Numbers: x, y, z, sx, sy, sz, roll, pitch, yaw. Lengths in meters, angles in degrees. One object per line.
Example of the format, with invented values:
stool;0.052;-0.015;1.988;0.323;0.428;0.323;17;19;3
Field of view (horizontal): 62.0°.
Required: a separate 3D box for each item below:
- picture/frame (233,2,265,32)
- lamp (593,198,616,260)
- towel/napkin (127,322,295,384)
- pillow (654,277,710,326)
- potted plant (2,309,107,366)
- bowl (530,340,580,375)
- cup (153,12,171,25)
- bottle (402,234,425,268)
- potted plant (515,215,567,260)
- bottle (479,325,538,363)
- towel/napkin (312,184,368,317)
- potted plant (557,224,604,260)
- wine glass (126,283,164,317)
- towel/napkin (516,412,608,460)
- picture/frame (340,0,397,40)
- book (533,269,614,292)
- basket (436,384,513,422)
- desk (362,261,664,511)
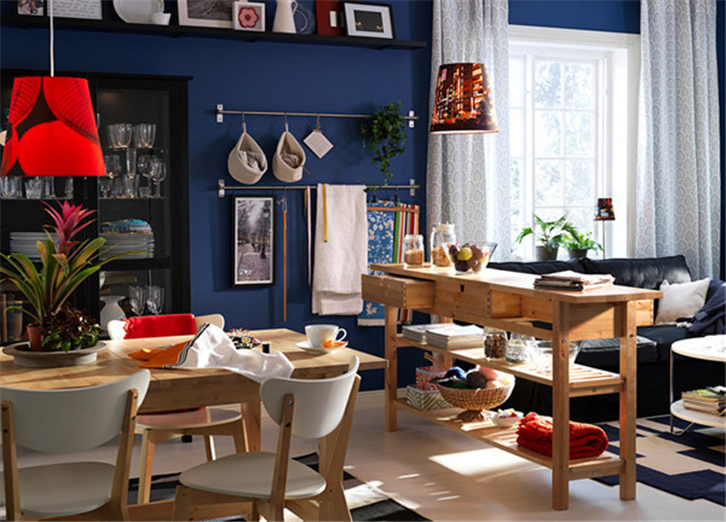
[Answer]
picture/frame;-0.818;-1.733;4.293;0.260;0.218;0.082;-1;-1;-29
lamp;2.161;-0.297;5.422;0.159;0.557;0.638;1;5;22
towel/napkin;-0.546;0.376;2.381;0.308;0.110;0.388;2;2;-41
pillow;2.573;0.338;4.881;0.139;0.363;0.349;34;-23;-34
potted plant;-1.245;0.313;2.430;0.262;0.128;0.266;3;4;26
bowl;0.994;0.497;3.231;0.193;0.094;0.188;-1;1;0
cup;-1.359;-1.637;4.078;0.119;0.104;0.081;-3;5;-25
bottle;0.339;-0.076;4.049;0.187;0.266;0.187;0;0;0
potted plant;1.589;-0.207;5.352;0.432;0.303;0.425;-1;3;-7
bottle;0.832;0.437;3.442;0.222;0.163;0.218;0;2;0
towel/napkin;-0.170;-0.085;4.663;0.453;1.012;0.082;-3;5;-24
potted plant;1.927;-0.165;5.396;0.367;0.246;0.361;1;3;-22
wine glass;-1.448;0.250;4.040;0.201;0.212;0.190;-1;-1;-11
towel/napkin;1.082;0.932;3.199;0.286;0.112;0.281;-1;4;-23
picture/frame;0.020;-1.824;4.578;0.380;0.256;0.017;3;-13;-26
book;1.104;0.095;3.113;0.425;0.078;0.235;-3;5;-26
basket;0.671;0.828;3.652;0.296;0.133;0.293;0;-2;-4
desk;0.733;0.697;3.772;0.710;1.175;1.895;1;0;-29
